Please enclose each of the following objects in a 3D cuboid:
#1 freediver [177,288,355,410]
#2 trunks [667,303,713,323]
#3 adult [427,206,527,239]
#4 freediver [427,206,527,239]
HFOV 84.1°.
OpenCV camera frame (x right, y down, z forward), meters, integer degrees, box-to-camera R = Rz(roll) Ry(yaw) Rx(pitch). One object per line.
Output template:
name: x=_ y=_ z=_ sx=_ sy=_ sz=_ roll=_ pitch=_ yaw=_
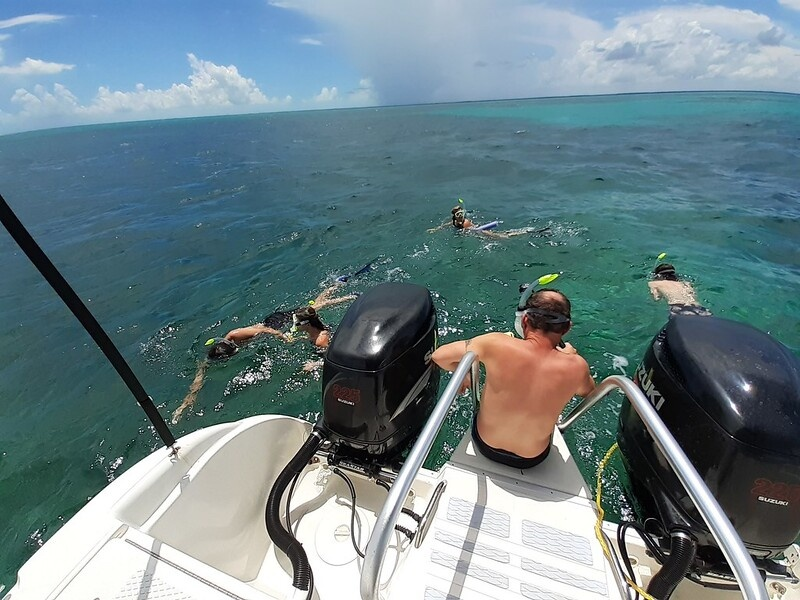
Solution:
freediver: x=-2.111 y=0.855 z=6.950 sx=1.834 sy=0.353 sz=1.721 roll=-17 pitch=15 yaw=16
trunks: x=3.646 y=0.152 z=5.609 sx=0.442 sy=0.128 sz=0.236 roll=-4 pitch=17 yaw=-28
adult: x=1.908 y=-1.726 z=10.561 sx=1.812 sy=0.544 sz=1.118 roll=4 pitch=14 yaw=19
freediver: x=1.918 y=-1.730 z=10.587 sx=1.812 sy=0.544 sz=1.118 roll=4 pitch=14 yaw=19
